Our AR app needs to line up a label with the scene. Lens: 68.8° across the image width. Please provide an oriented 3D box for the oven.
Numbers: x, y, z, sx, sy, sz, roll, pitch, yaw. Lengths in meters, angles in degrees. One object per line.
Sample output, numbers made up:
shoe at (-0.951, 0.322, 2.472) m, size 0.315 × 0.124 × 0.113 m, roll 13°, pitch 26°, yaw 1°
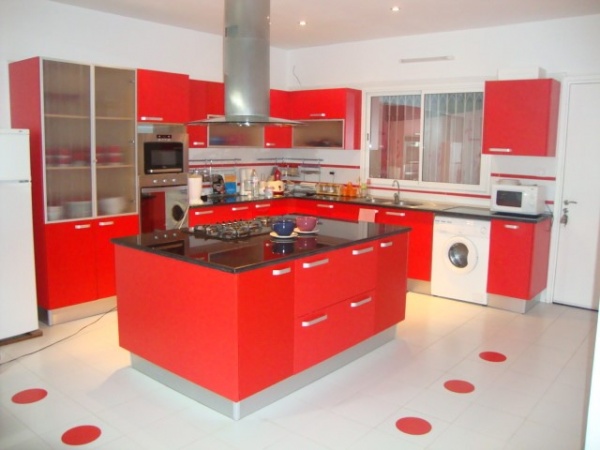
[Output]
oven at (-1.641, -0.800, 5.573) m, size 0.654 × 0.651 × 0.500 m, roll -1°, pitch 1°, yaw 0°

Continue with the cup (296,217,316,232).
cup at (0.055, -0.007, 3.959) m, size 0.178 × 0.132 × 0.120 m, roll 0°, pitch 14°, yaw -7°

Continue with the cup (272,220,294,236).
cup at (-0.138, 0.030, 3.685) m, size 0.136 × 0.089 × 0.148 m, roll -1°, pitch -2°, yaw 0°

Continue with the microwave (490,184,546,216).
microwave at (2.657, -0.259, 5.362) m, size 0.588 × 0.406 × 0.399 m, roll 5°, pitch 8°, yaw 42°

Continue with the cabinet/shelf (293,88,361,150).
cabinet/shelf at (0.448, -1.628, 6.654) m, size 1.222 × 1.007 × 0.477 m, roll 3°, pitch 7°, yaw 30°

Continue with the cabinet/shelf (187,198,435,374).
cabinet/shelf at (0.462, 0.599, 5.695) m, size 2.218 × 0.896 × 1.636 m, roll 5°, pitch 5°, yaw 39°

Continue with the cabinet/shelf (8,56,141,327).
cabinet/shelf at (-2.341, -0.357, 4.793) m, size 1.122 × 2.735 × 0.616 m, roll -5°, pitch 16°, yaw -27°

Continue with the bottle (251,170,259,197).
bottle at (-0.691, -0.654, 6.811) m, size 0.131 × 0.379 × 0.306 m, roll 1°, pitch 14°, yaw -5°
